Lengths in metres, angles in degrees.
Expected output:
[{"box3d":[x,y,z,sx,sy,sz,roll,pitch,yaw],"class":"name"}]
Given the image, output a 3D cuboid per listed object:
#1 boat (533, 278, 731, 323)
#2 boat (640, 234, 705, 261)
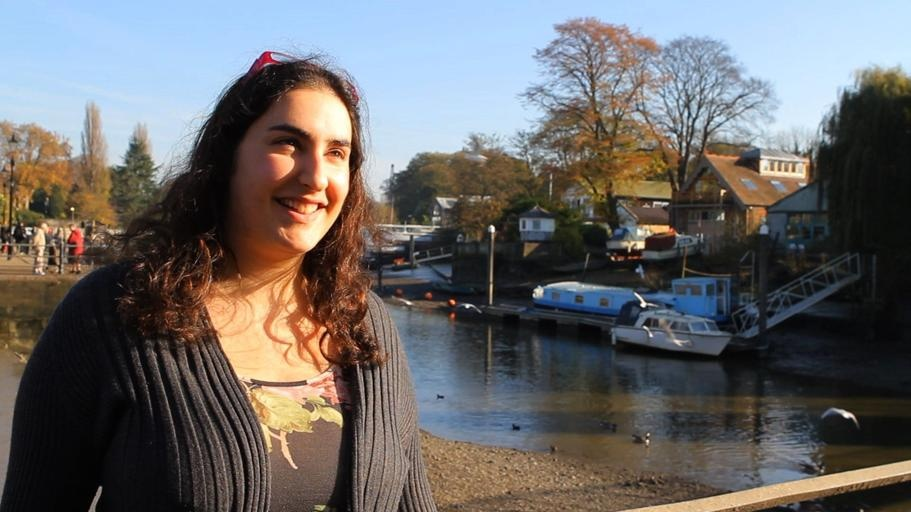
[{"box3d":[9.645,2.573,57.888,3.279,2.619,12.391,-4,5,-43],"class":"boat"},{"box3d":[14.186,-0.453,64.729,1.456,1.648,4.260,1,0,-36],"class":"boat"}]
